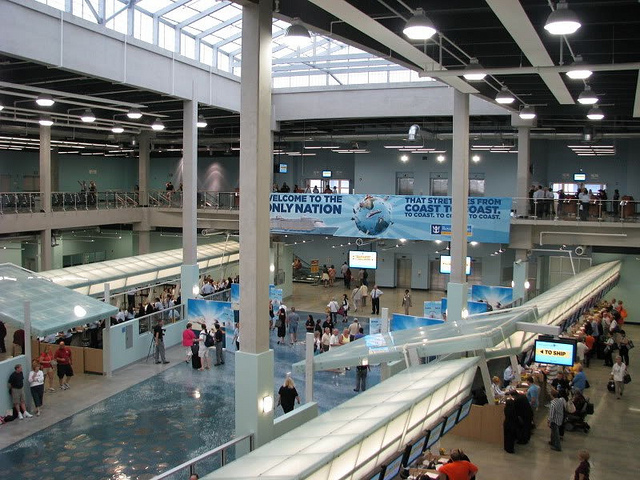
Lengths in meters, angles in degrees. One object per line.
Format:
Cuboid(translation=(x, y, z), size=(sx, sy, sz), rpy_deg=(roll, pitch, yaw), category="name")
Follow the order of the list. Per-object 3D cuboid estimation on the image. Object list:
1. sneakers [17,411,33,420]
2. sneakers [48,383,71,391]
Cuboid(translation=(-7.821, 4.664, 12.717), size=(0.380, 0.187, 0.127), rpy_deg=(-3, 3, -5), category="sneakers")
Cuboid(translation=(-8.015, 4.507, 14.664), size=(0.640, 0.288, 0.207), rpy_deg=(5, 3, 13), category="sneakers")
